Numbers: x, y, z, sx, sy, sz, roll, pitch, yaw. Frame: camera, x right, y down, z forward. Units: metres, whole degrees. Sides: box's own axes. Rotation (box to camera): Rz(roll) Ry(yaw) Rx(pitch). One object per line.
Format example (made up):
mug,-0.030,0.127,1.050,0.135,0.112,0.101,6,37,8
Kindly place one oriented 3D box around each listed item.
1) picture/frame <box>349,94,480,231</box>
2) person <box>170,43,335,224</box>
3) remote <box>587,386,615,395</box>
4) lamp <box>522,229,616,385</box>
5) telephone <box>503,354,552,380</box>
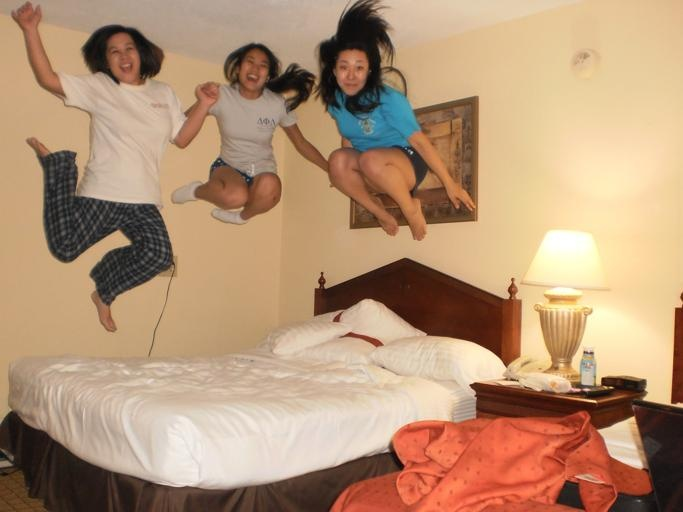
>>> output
picture/frame,0.489,-0.609,3.782,0.852,0.750,0.037,-6,-4,40
person,-0.586,-0.789,3.935,1.202,1.182,0.654,1,19,-19
remote,1.294,0.680,3.014,0.128,0.026,0.074,3,-7,-38
lamp,1.243,0.260,3.294,0.420,0.806,0.279,1,4,-15
telephone,1.093,0.638,3.474,0.184,0.061,0.146,-7,9,-41
